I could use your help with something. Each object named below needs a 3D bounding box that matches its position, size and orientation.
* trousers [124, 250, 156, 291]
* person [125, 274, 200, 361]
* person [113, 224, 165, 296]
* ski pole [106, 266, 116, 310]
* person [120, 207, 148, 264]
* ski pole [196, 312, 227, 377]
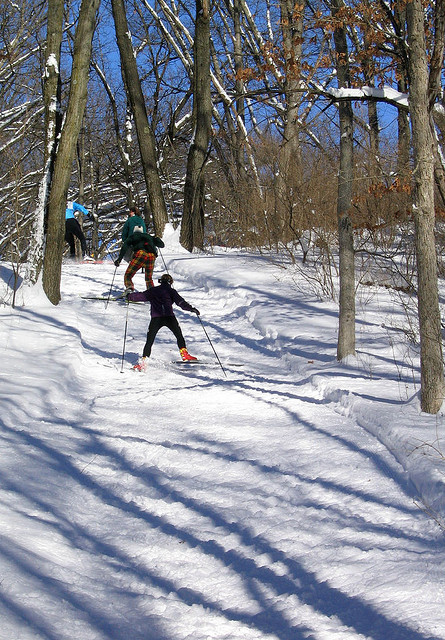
[{"bbox_3d":[-1.519,-0.901,11.815,0.536,0.779,0.549,2,8,-10],"label":"trousers"},{"bbox_3d":[-0.980,-0.017,10.256,1.254,1.755,0.480,1,8,-8],"label":"person"},{"bbox_3d":[-1.519,-1.088,11.915,0.782,1.614,0.589,6,-22,-18],"label":"person"},{"bbox_3d":[-2.371,-0.680,13.708,0.018,1.258,0.048,11,1,4],"label":"ski pole"},{"bbox_3d":[-1.716,-1.688,12.070,0.399,0.383,1.205,-17,-27,-28],"label":"person"},{"bbox_3d":[-0.177,0.374,9.919,0.035,0.995,0.014,-19,-12,-29],"label":"ski pole"}]
